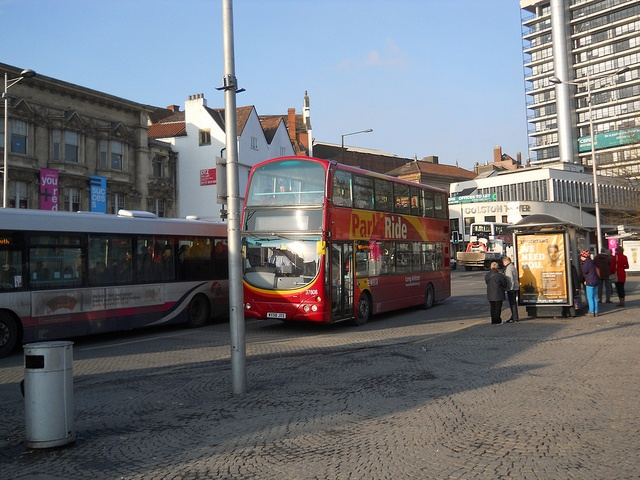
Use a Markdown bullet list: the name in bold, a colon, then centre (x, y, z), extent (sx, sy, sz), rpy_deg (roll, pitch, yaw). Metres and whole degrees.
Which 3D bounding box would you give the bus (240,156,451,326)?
- **bus**: centre (1.535, 0.101, 21.110), extent (2.962, 5.020, 9.978), rpy_deg (0, -1, 34)

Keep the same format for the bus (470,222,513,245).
- **bus**: centre (14.500, -0.530, 52.872), extent (4.286, 2.186, 1.555), rpy_deg (-4, 6, -45)

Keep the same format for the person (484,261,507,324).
- **person**: centre (5.073, 1.500, 17.791), extent (0.572, 1.335, 0.613), rpy_deg (-4, -2, 16)

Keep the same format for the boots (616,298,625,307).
- **boots**: centre (10.124, 2.086, 20.887), extent (0.211, 0.264, 0.431), rpy_deg (-4, -2, 24)
